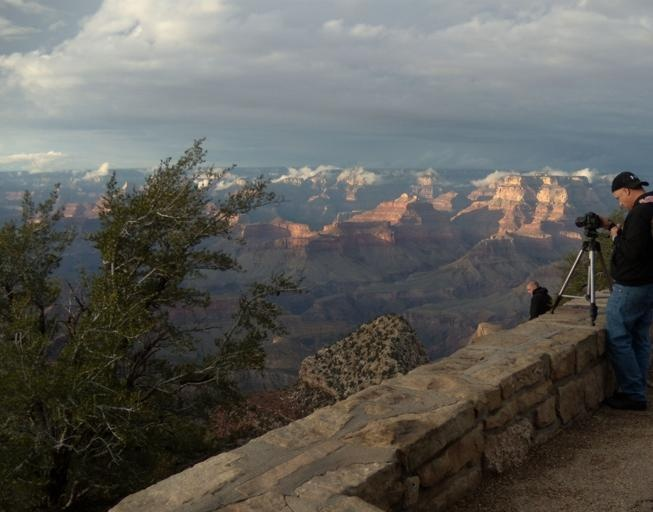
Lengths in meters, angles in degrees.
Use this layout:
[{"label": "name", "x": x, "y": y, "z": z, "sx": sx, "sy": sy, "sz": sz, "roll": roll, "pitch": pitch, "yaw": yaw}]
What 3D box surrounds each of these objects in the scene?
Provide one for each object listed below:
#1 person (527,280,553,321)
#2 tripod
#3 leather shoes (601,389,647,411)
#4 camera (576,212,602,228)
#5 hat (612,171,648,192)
[{"label": "person", "x": 3.853, "y": 0.783, "z": 10.807, "sx": 0.391, "sy": 0.571, "sz": 1.179, "roll": 2, "pitch": 10, "yaw": 19}, {"label": "tripod", "x": 3.847, "y": 0.318, "z": 8.882, "sx": 0.928, "sy": 1.184, "sz": 0.788, "roll": -10, "pitch": 14, "yaw": -41}, {"label": "leather shoes", "x": 3.886, "y": 1.897, "z": 7.844, "sx": 0.553, "sy": 0.216, "sz": 0.209, "roll": 1, "pitch": 2, "yaw": 30}, {"label": "camera", "x": 3.718, "y": -0.486, "z": 8.438, "sx": 0.154, "sy": 0.283, "sz": 0.299, "roll": 1, "pitch": -3, "yaw": -40}, {"label": "hat", "x": 3.870, "y": -0.935, "z": 7.720, "sx": 0.443, "sy": 0.270, "sz": 0.390, "roll": 7, "pitch": 13, "yaw": 40}]
